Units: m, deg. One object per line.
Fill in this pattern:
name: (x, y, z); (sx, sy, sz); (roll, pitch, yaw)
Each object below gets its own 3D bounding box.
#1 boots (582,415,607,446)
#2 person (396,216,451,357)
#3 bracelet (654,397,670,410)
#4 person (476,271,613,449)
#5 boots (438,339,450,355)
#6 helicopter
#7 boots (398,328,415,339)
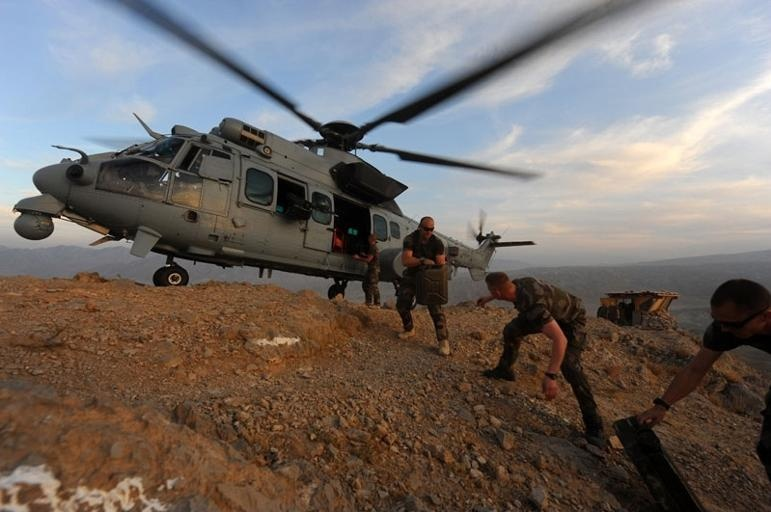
boots: (2.425, 2.070, 4.346); (0.272, 0.368, 0.216); (11, 4, 29)
person: (0.670, 0.457, 6.154); (0.936, 1.894, 0.924); (9, 3, 1)
bracelet: (2.773, 1.520, 3.749); (0.146, 0.051, 0.140); (23, -1, -25)
person: (2.021, 1.221, 4.740); (1.604, 2.154, 1.024); (11, 4, 31)
boots: (0.937, 1.456, 5.848); (0.190, 0.206, 0.203); (9, 3, 10)
helicopter: (-2.263, -1.010, 7.265); (5.781, 2.342, 5.482); (8, 1, -42)
boots: (0.381, 1.397, 6.524); (0.279, 0.101, 0.142); (1, 4, -27)
